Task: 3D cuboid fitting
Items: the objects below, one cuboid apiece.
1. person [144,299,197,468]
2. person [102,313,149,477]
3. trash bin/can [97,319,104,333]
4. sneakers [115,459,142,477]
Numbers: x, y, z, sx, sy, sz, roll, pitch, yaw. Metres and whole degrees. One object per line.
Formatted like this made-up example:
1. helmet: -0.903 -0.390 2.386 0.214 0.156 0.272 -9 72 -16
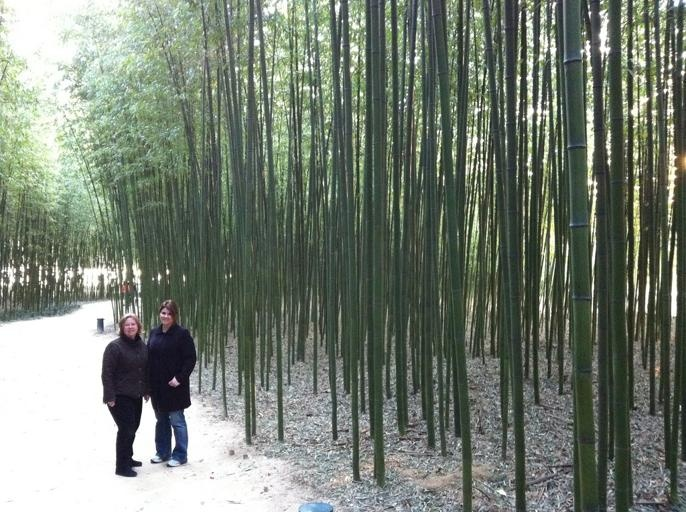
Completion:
1. person: -1.236 0.903 4.784 0.349 1.092 0.457 -4 9 -14
2. person: -1.522 0.956 4.628 0.268 1.036 0.413 -2 9 -4
3. trash bin/can: -3.678 1.058 10.041 0.157 0.221 0.132 2 2 -26
4. sneakers: -1.476 1.460 4.554 0.088 0.052 0.143 -4 1 -4
